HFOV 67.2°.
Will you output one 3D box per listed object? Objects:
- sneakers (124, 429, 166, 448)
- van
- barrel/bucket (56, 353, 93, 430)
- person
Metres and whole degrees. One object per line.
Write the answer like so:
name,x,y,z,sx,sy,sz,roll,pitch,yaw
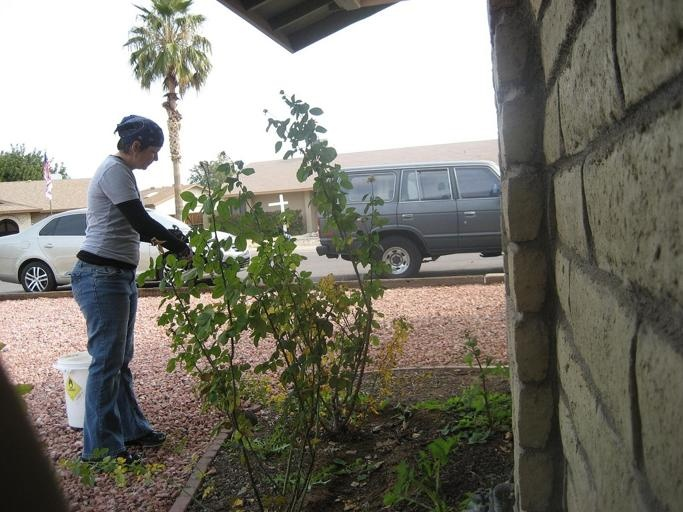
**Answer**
sneakers,-1.286,1.190,3.350,0.249,0.118,0.099,-3,5,-8
van,1.212,-0.783,9.764,3.230,1.588,1.826,-6,5,2
barrel/bucket,-1.720,0.905,3.472,0.332,0.424,0.335,-4,-12,-1
person,-1.274,0.216,2.991,0.621,2.068,0.572,-5,4,-16
